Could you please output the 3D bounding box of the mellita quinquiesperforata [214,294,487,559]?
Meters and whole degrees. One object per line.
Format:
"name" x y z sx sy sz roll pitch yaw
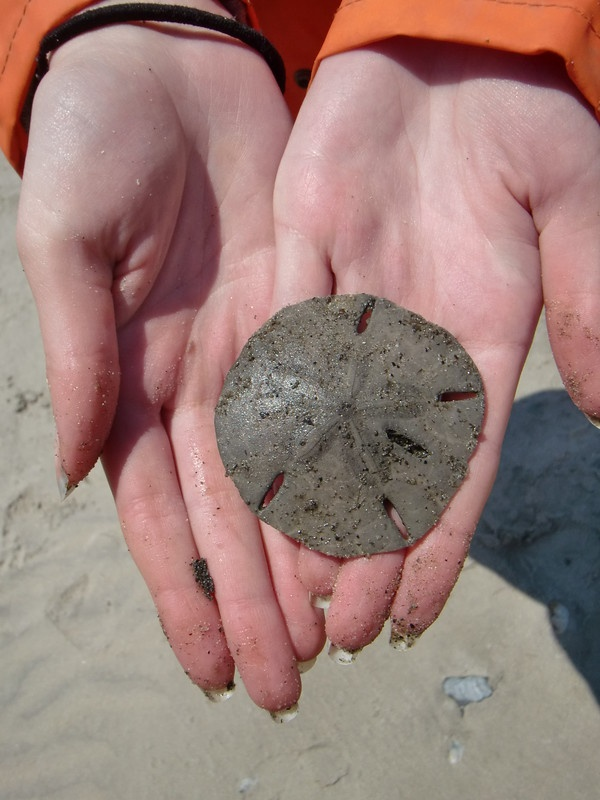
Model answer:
"mellita quinquiesperforata" 0.202 0.062 3.063 0.882 0.852 0.177 32 5 15
